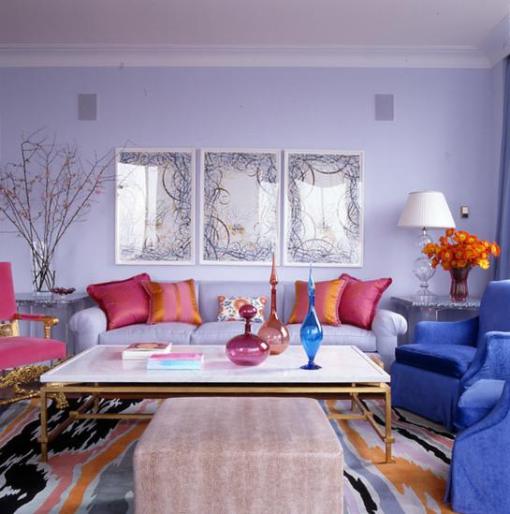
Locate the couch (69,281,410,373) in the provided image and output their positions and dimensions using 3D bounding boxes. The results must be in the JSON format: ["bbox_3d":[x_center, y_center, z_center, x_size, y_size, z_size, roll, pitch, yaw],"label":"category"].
[{"bbox_3d":[-0.138,0.632,3.879,2.486,0.879,0.798,0,-3,1],"label":"couch"}]

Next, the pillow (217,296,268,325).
[{"bbox_3d":[-0.098,0.421,3.634,0.274,0.178,0.097,0,-34,-2],"label":"pillow"}]

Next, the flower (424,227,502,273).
[{"bbox_3d":[1.730,-0.038,3.972,0.603,0.380,0.589,3,6,27],"label":"flower"}]

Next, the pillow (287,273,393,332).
[{"bbox_3d":[0.659,0.350,3.784,0.551,0.505,0.179,1,-31,35],"label":"pillow"}]
